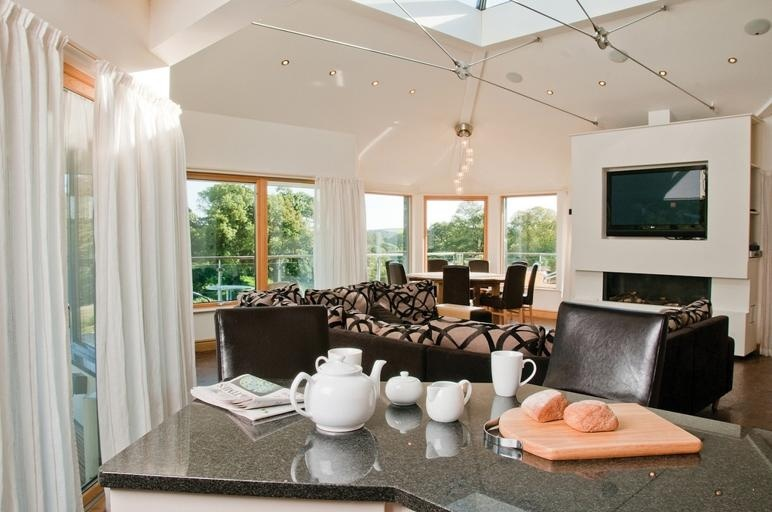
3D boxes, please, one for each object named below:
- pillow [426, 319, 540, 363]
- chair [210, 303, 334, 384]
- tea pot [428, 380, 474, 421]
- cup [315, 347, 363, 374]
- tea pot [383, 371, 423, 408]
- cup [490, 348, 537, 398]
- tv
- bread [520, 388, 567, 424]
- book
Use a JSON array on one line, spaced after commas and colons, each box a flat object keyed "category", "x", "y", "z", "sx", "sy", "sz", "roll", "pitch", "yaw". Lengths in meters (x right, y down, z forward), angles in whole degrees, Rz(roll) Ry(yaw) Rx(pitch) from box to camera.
[{"category": "pillow", "x": 0.626, "y": 0.472, "z": 2.988, "sx": 0.445, "sy": 0.144, "sz": 0.254, "roll": 4, "pitch": -3, "yaw": 20}, {"category": "chair", "x": -0.585, "y": 0.388, "z": 2.574, "sx": 0.413, "sy": 0.553, "sz": 0.463, "roll": 2, "pitch": -3, "yaw": -29}, {"category": "tea pot", "x": 0.232, "y": 0.512, "z": 1.836, "sx": 0.147, "sy": 0.126, "sz": 0.222, "roll": 0, "pitch": 1, "yaw": 14}, {"category": "cup", "x": -0.176, "y": 0.381, "z": 1.803, "sx": 0.166, "sy": 0.112, "sz": 0.121, "roll": -1, "pitch": 1, "yaw": 7}, {"category": "tea pot", "x": 0.074, "y": 0.497, "z": 1.924, "sx": 0.139, "sy": 0.101, "sz": 0.135, "roll": 0, "pitch": -4, "yaw": 0}, {"category": "cup", "x": 0.503, "y": 0.456, "z": 2.002, "sx": 0.140, "sy": 0.172, "sz": 0.208, "roll": 0, "pitch": 1, "yaw": 15}, {"category": "tv", "x": 3.503, "y": -0.700, "z": 6.386, "sx": 0.992, "sy": 0.802, "sz": 0.098, "roll": 2, "pitch": 3, "yaw": 31}, {"category": "bread", "x": 0.536, "y": 0.492, "z": 1.686, "sx": 0.103, "sy": 0.067, "sz": 0.110, "roll": -3, "pitch": -1, "yaw": -6}, {"category": "book", "x": -0.510, "y": 0.536, "z": 1.914, "sx": 0.292, "sy": 0.040, "sz": 0.307, "roll": 11, "pitch": 8, "yaw": 28}]
